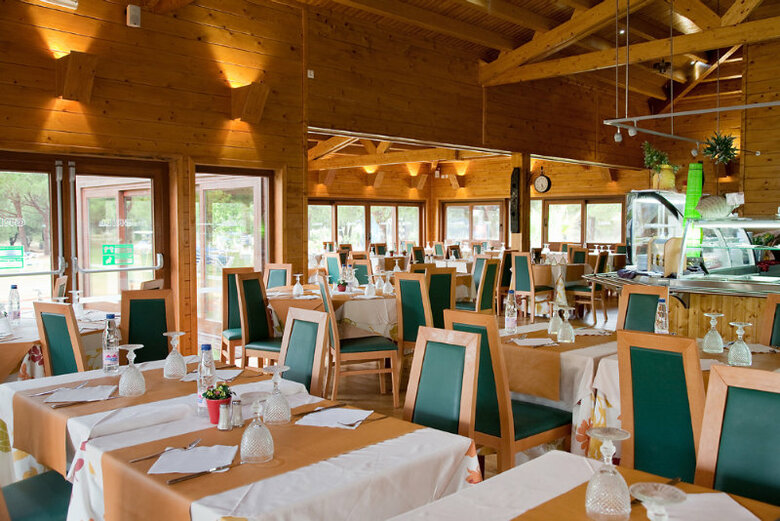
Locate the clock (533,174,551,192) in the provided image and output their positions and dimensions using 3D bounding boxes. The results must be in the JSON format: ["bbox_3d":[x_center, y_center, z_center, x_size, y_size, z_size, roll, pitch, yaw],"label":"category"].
[{"bbox_3d":[4.225,-2.152,14.967,0.179,0.450,0.500,-2,7,-41],"label":"clock"}]

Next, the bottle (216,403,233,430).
[{"bbox_3d":[-0.724,0.699,2.411,0.106,0.100,0.093,1,1,-11],"label":"bottle"}]

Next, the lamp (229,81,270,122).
[{"bbox_3d":[-1.699,-1.900,6.460,0.400,0.435,0.270,7,13,35],"label":"lamp"}]

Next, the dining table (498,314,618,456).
[{"bbox_3d":[1.269,0.839,3.707,0.779,0.338,0.781,3,7,39],"label":"dining table"}]

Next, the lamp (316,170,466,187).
[{"bbox_3d":[0.087,-2.376,15.580,4.452,0.589,1.109,-6,10,-32],"label":"lamp"}]

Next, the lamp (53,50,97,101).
[{"bbox_3d":[-3.142,-1.830,5.364,0.293,0.447,0.308,9,15,43],"label":"lamp"}]
